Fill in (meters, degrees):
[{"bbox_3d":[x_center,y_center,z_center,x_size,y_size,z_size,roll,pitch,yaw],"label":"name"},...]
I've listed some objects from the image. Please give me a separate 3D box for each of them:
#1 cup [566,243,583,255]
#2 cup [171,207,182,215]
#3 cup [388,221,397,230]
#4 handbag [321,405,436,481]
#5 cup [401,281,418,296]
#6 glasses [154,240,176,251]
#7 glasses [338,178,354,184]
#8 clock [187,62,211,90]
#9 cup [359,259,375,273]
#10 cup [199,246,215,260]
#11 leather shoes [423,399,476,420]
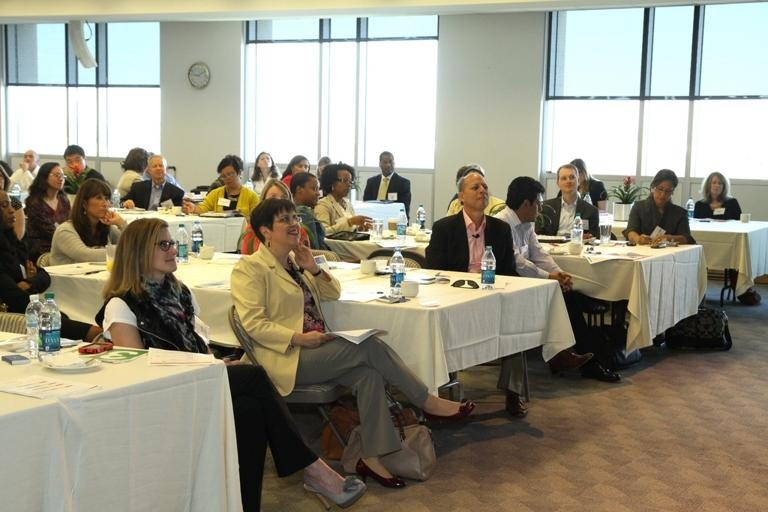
[{"bbox_3d":[1.840,-0.066,5.311,0.094,0.088,0.120,-2,-7,28],"label":"cup"},{"bbox_3d":[-2.659,-0.581,7.095,0.111,0.108,0.140,9,13,37],"label":"cup"},{"bbox_3d":[0.108,-0.396,7.131,0.109,0.110,0.112,3,4,0],"label":"cup"},{"bbox_3d":[-0.030,1.121,3.290,0.542,0.230,0.414,4,9,20],"label":"handbag"},{"bbox_3d":[0.162,0.209,3.475,0.102,0.080,0.081,1,6,19],"label":"cup"},{"bbox_3d":[-1.086,-0.057,2.765,0.050,0.053,0.105,3,9,15],"label":"glasses"},{"bbox_3d":[-0.461,-0.888,6.479,0.114,0.036,0.114,1,2,26],"label":"glasses"},{"bbox_3d":[-4.317,-4.222,12.820,0.602,0.618,0.126,5,10,25],"label":"clock"},{"bbox_3d":[-0.133,0.086,4.394,0.098,0.076,0.101,1,-2,0],"label":"cup"},{"bbox_3d":[-1.596,-0.029,4.935,0.116,0.119,0.119,0,-5,0],"label":"cup"},{"bbox_3d":[0.410,0.983,3.462,0.286,0.117,0.155,-8,4,7],"label":"leather shoes"}]
